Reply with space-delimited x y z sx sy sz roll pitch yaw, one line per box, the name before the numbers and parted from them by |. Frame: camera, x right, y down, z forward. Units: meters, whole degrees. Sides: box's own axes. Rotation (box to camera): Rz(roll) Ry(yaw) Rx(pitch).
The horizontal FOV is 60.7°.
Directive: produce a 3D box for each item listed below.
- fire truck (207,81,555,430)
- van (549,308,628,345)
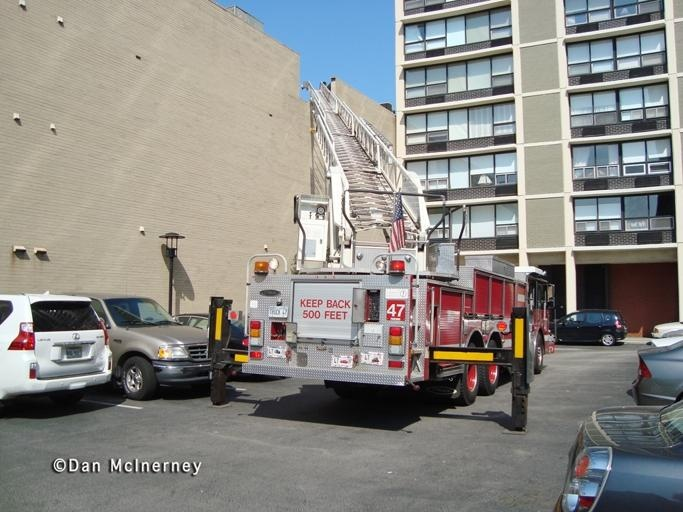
fire truck | 1.979 -0.145 14.863 6.074 6.343 10.553 -3 -8 27
van | 12.066 3.453 28.175 2.796 1.312 1.739 0 -4 20
